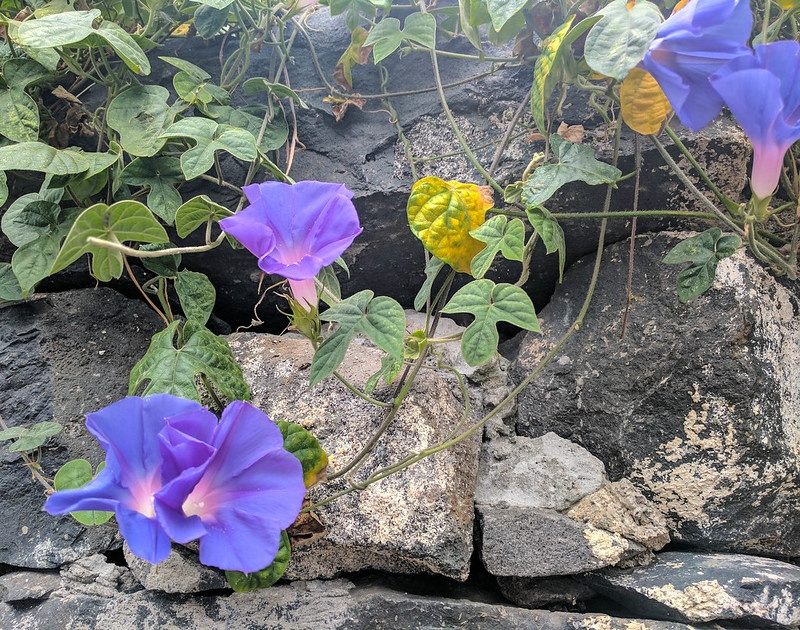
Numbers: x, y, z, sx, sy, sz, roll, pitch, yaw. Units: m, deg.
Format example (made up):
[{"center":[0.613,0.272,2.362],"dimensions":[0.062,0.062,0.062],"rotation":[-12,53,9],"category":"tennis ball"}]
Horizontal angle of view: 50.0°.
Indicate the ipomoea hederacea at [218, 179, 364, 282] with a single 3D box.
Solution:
[{"center":[-0.290,-0.201,2.186],"dimensions":[0.326,0.177,0.377],"rotation":[5,45,-11],"category":"ipomoea hederacea"}]
